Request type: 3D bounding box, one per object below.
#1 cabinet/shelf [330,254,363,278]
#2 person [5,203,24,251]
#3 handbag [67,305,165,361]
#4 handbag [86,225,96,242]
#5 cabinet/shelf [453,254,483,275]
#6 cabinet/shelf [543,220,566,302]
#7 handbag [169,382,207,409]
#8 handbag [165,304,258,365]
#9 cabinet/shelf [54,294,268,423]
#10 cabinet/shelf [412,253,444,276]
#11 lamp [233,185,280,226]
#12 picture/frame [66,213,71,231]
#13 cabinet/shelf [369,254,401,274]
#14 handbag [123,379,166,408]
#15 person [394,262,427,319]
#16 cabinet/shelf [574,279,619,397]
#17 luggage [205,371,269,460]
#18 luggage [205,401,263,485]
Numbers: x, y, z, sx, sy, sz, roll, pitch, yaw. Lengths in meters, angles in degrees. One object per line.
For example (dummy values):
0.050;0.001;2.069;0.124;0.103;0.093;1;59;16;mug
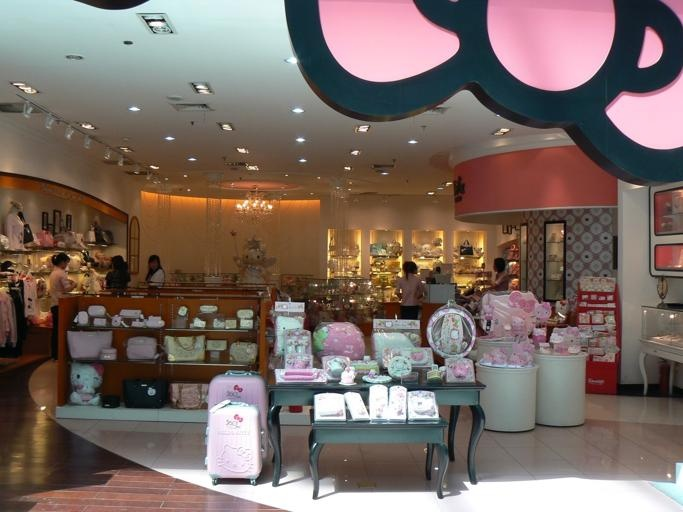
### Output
0.097;0.253;11.808;0.874;0.564;0.446;-1;4;-13;cabinet/shelf
-5.350;-0.502;8.349;0.227;0.803;0.656;0;2;-26;person
-2.646;0.896;5.935;0.975;0.617;0.180;1;2;-2;handbag
-5.593;-0.492;11.379;0.186;0.379;0.448;0;2;-26;handbag
3.721;0.306;15.121;1.011;0.658;0.533;1;-8;-3;cabinet/shelf
3.936;0.106;9.396;0.172;1.503;0.463;0;2;-31;cabinet/shelf
-1.733;1.597;5.786;0.475;0.265;0.293;4;-4;0;handbag
-1.516;0.872;6.361;1.360;0.643;0.831;0;5;-4;handbag
-2.223;1.267;6.255;2.518;1.390;0.758;-1;-6;8;cabinet/shelf
2.337;0.221;13.973;0.625;0.549;0.308;3;-33;-3;cabinet/shelf
-1.924;-1.141;11.630;0.816;0.915;0.774;1;-7;-2;lamp
-5.784;-0.732;10.853;0.075;0.374;0.495;0;2;-17;picture/frame
1.285;0.245;14.824;0.916;0.530;0.414;1;2;5;cabinet/shelf
-2.234;1.590;5.869;0.543;0.368;0.312;0;-7;-2;handbag
1.270;0.644;9.514;0.447;1.085;0.498;1;2;8;person
3.616;1.118;7.223;0.519;1.613;0.347;1;2;18;cabinet/shelf
-1.010;1.552;4.851;0.617;0.829;0.523;2;-9;6;luggage
-0.902;1.631;4.447;0.522;0.652;0.367;0;-5;-4;luggage
